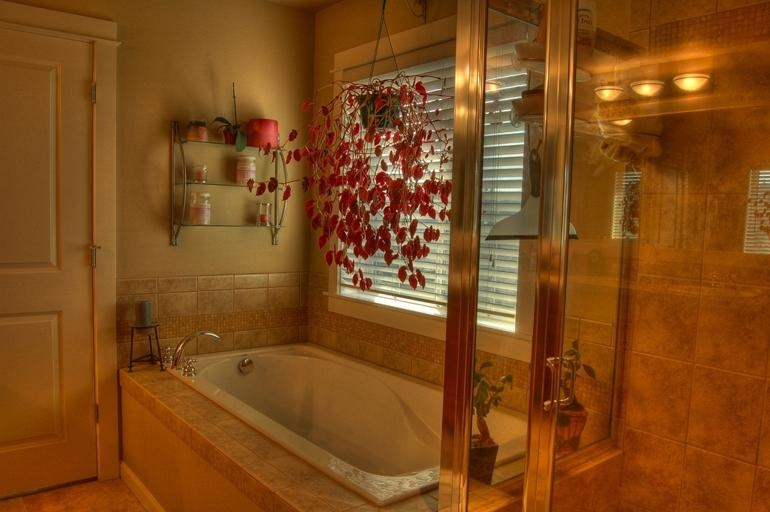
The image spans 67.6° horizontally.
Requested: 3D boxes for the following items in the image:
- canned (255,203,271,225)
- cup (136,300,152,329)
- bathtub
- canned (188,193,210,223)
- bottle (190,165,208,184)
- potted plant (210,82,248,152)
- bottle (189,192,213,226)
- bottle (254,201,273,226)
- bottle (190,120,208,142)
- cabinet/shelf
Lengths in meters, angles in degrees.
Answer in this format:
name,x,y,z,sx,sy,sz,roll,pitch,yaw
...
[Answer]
name,x,y,z,sx,sy,sz,roll,pitch,yaw
canned,-0.753,-0.269,3.669,0.127,0.166,0.122,2,5,5
cup,-1.337,0.319,3.198,0.096,0.138,0.077,-3,9,-36
bathtub,-0.358,0.755,2.945,0.931,0.540,1.981,-5,10,-42
canned,-1.100,-0.278,3.415,0.125,0.193,0.127,3,1,30
bottle,-1.086,-0.476,3.368,0.096,0.113,0.098,6,6,42
potted plant,-0.940,-0.854,3.484,0.207,0.416,0.167,-1,8,-20
bottle,-1.082,-0.274,3.359,0.169,0.254,0.169,2,2,0
bottle,-0.762,-0.267,3.635,0.140,0.203,0.130,2,3,0
bottle,-1.074,-0.718,3.327,0.105,0.121,0.109,2,1,-1
cabinet/shelf,-0.978,-0.454,3.481,0.775,0.882,0.247,0,0,-40
